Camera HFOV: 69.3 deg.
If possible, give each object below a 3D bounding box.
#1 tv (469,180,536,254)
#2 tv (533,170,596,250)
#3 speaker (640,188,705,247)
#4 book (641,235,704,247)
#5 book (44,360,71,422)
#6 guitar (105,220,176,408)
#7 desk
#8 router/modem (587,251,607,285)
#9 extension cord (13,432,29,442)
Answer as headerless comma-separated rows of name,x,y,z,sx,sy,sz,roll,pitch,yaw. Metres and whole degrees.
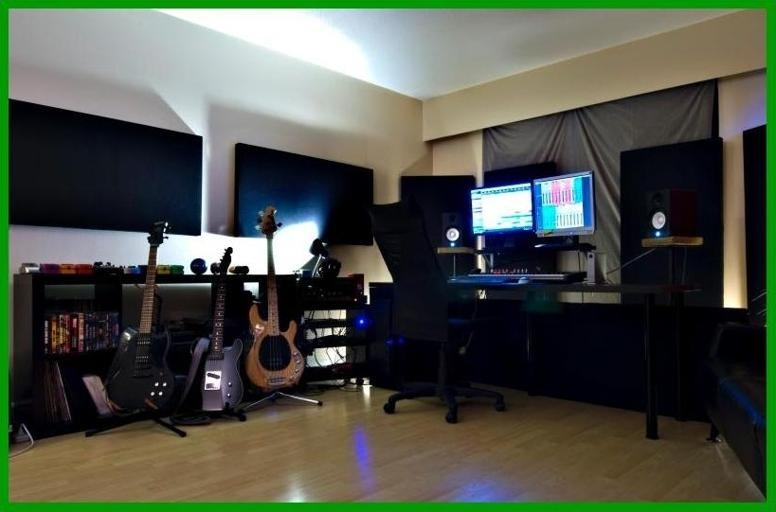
tv,1.102,-0.365,5.343,0.795,0.745,0.288,-5,-5,39
tv,1.516,-0.455,4.891,0.142,0.564,0.578,-8,11,-43
speaker,2.206,-0.255,4.518,0.472,0.574,0.447,4,-5,-10
book,2.160,-0.114,4.287,0.441,0.095,0.220,-4,8,-24
book,-2.439,1.003,4.132,0.157,0.444,0.123,-5,10,-32
guitar,-1.902,0.473,4.246,0.463,1.416,0.440,-3,9,-21
desk,1.395,0.667,4.631,1.772,1.111,1.345,0,8,5
router/modem,1.746,0.102,4.693,0.086,0.176,0.269,-7,-7,33
extension cord,-2.629,1.298,4.015,0.057,0.027,0.057,-2,-4,38
